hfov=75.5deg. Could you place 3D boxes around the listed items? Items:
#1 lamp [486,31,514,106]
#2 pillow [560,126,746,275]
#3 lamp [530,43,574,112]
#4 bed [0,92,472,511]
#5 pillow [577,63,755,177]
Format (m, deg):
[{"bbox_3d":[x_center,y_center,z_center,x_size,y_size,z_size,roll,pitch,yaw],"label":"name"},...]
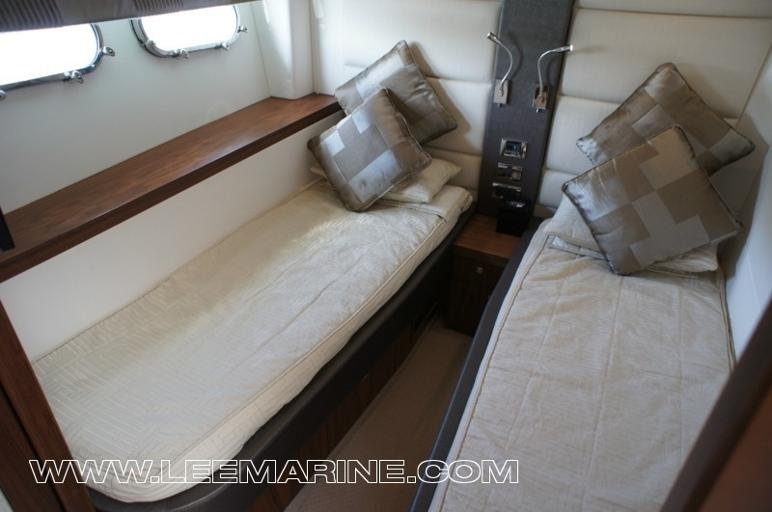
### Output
[{"bbox_3d":[0.614,-1.013,2.672,0.151,0.398,0.093,10,52,13],"label":"lamp"},{"bbox_3d":[1.248,-0.233,2.321,0.204,0.654,0.672,3,56,-62],"label":"pillow"},{"bbox_3d":[0.862,-0.924,2.608,0.177,0.338,0.113,7,38,13],"label":"lamp"},{"bbox_3d":[-0.680,0.212,2.187,0.848,0.833,1.683,26,46,24],"label":"bed"},{"bbox_3d":[1.398,-0.597,2.389,0.537,0.583,0.172,50,23,17],"label":"pillow"}]
